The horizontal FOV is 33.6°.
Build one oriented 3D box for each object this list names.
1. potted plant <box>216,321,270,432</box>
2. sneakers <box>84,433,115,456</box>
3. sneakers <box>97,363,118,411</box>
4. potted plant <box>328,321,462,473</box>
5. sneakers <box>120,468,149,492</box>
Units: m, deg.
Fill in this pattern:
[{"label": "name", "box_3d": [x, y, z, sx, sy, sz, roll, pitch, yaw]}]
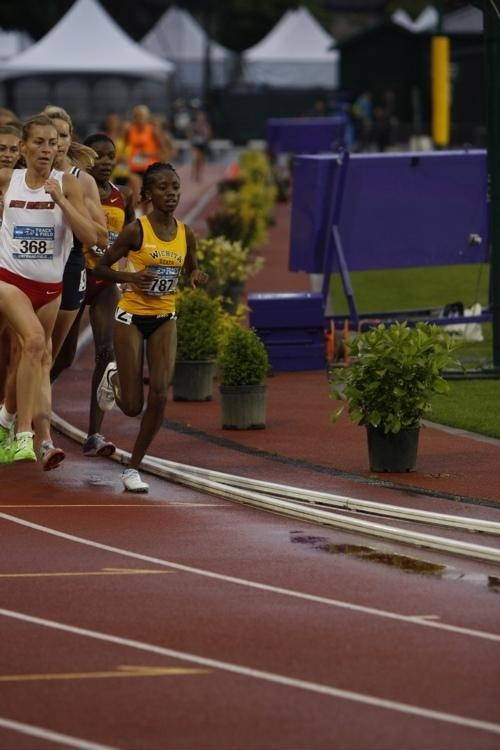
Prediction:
[{"label": "potted plant", "box_3d": [-0.087, 0.029, 9.163, 0.543, 1.127, 0.362, 1, 2, -2]}, {"label": "sneakers", "box_3d": [-1.222, 0.563, 6.782, 0.138, 0.147, 0.327, 8, -16, -37]}, {"label": "sneakers", "box_3d": [-1.127, 0.111, 6.533, 0.176, 0.417, 0.188, -1, 22, -12]}, {"label": "potted plant", "box_3d": [1.212, 0.192, 6.889, 0.935, 1.268, 0.539, 1, 2, 7]}, {"label": "sneakers", "box_3d": [-0.852, 0.766, 6.104, 0.111, 0.118, 0.270, -2, 3, -30]}]
